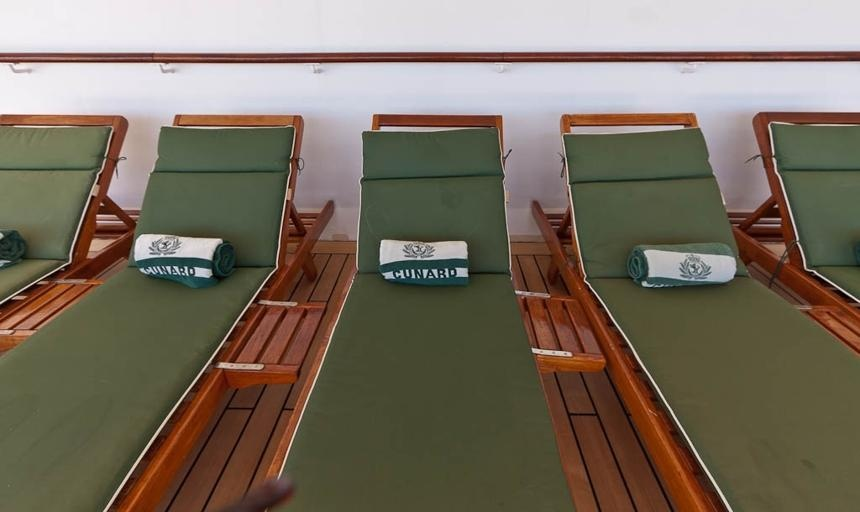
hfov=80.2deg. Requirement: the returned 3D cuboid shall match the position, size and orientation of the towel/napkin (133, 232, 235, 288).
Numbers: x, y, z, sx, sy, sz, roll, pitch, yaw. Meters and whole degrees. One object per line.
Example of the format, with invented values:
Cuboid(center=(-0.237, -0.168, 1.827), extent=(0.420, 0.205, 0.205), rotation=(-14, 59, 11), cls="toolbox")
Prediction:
Cuboid(center=(-1.593, 0.013, 3.297), extent=(0.652, 0.266, 0.338), rotation=(8, 31, 5), cls="towel/napkin")
